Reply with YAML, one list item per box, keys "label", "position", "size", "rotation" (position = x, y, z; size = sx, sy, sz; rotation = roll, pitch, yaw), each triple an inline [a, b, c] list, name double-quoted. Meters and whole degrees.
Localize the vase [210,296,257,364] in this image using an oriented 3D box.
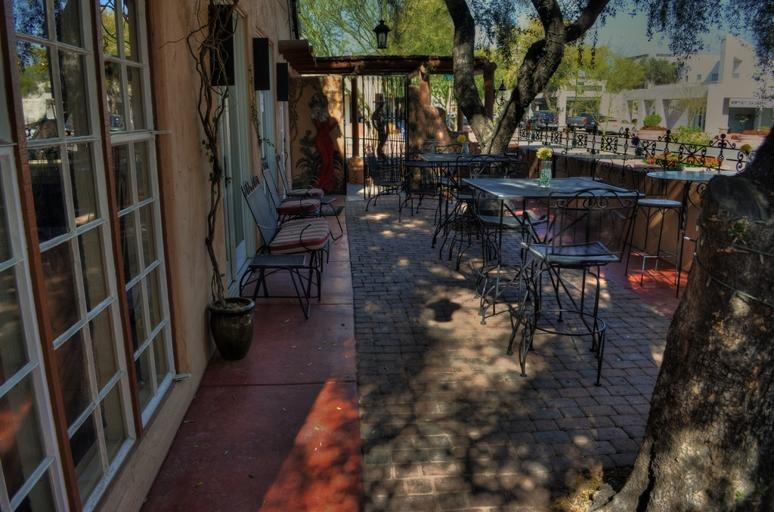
- label: "vase"
  position: [-1.373, 0.645, 4.985]
  size: [0.409, 0.491, 0.400]
  rotation: [1, 14, 0]
